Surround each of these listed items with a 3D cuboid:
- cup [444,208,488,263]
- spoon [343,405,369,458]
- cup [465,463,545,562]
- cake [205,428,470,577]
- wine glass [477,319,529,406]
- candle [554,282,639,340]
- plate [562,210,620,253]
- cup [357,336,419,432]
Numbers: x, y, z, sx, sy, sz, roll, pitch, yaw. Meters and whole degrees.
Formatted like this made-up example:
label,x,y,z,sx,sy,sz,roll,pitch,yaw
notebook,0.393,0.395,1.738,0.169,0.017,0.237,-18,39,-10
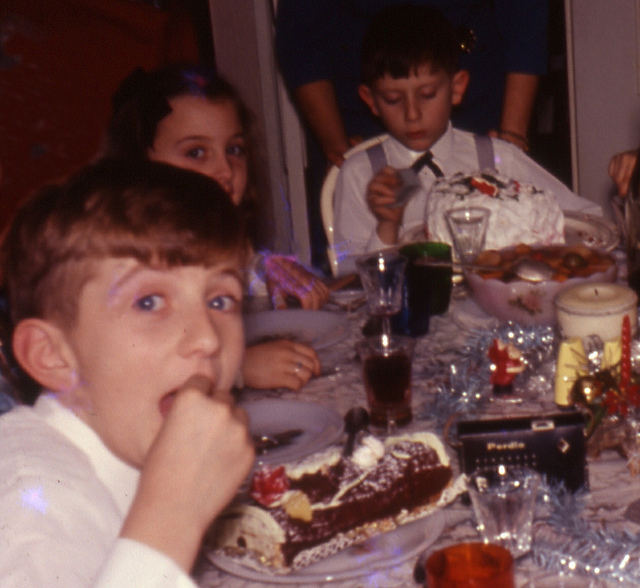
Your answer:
label,x,y,z,sx,sy,sz,roll,pitch,yaw
cup,0.452,-0.178,2.094,0.145,0.189,0.152,-3,3,0
spoon,0.059,0.264,1.273,0.025,0.016,0.109,4,31,9
cup,0.276,0.322,0.987,0.108,0.136,0.108,0,0,0
cake,0.012,0.296,1.073,0.276,0.077,0.195,-27,12,-28
wine glass,0.397,0.169,1.408,0.075,0.143,0.079,0,6,34
candle,0.614,0.045,1.440,0.178,0.108,0.167,-16,19,-26
plate,0.876,-0.156,2.135,0.183,0.049,0.201,-10,29,-13
cup,0.136,0.201,1.422,0.147,0.209,0.134,-3,-5,5
